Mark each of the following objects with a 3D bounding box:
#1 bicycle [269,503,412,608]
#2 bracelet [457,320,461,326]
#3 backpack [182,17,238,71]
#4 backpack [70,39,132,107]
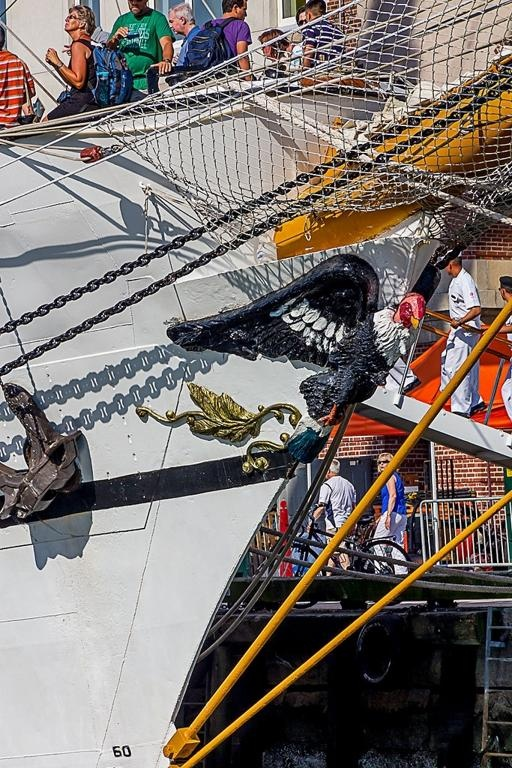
[{"bbox_3d":[0.570,1.204,10.612,1.053,0.560,0.563,-2,30,-14],"label":"bicycle"},{"bbox_3d":[1.351,-0.408,9.642,0.012,0.027,0.022,14,-14,-28],"label":"bracelet"},{"bbox_3d":[-0.297,-2.016,8.634,0.208,0.267,0.291,10,21,18],"label":"backpack"},{"bbox_3d":[-0.868,-1.784,8.295,0.341,0.329,0.379,-8,19,-27],"label":"backpack"}]
